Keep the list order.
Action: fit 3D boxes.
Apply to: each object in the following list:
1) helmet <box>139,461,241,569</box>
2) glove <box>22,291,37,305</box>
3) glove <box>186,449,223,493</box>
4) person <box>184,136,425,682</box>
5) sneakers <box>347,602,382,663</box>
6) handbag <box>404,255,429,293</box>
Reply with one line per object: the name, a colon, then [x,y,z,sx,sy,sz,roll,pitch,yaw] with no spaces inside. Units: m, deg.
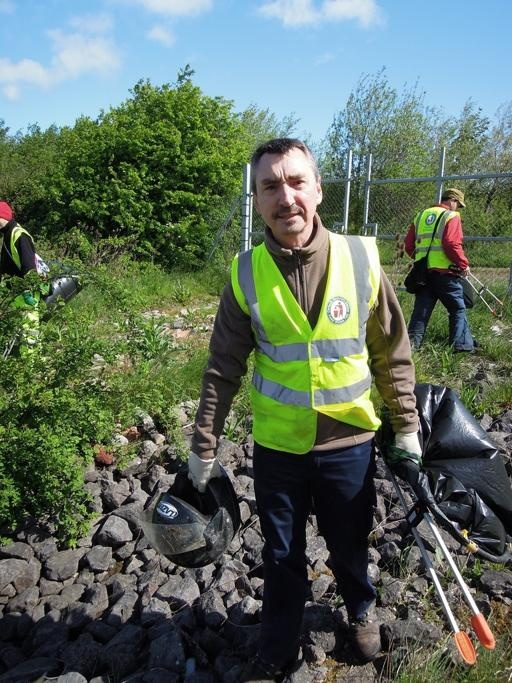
helmet: [-0.253,0.735,2.198,0.348,0.370,0.458,8,-5,22]
glove: [-1.370,-0.254,3.056,0.076,0.091,0.090,4,-17,-23]
glove: [-0.203,0.515,1.967,0.131,0.166,0.105,-30,54,-20]
person: [0.203,0.329,1.914,0.870,2.073,0.359,0,12,-17]
sneakers: [0.453,1.187,2.145,0.094,0.120,0.283,-25,20,18]
handbag: [1.894,-0.782,5.933,0.144,0.380,0.225,8,5,-38]
